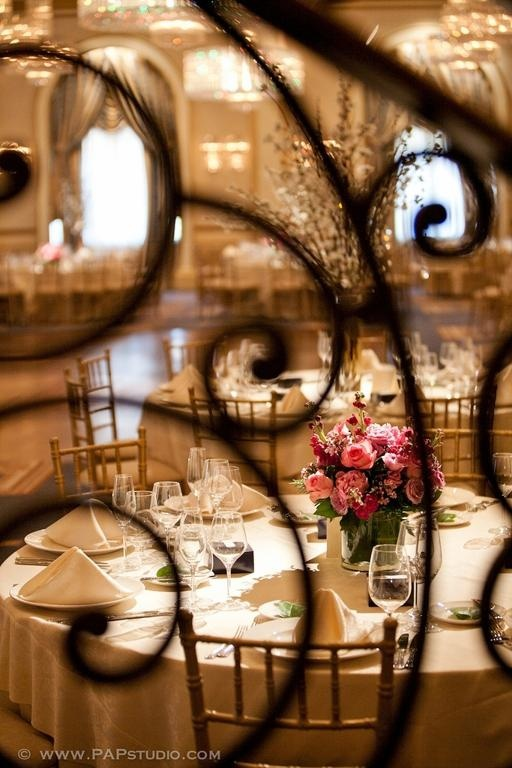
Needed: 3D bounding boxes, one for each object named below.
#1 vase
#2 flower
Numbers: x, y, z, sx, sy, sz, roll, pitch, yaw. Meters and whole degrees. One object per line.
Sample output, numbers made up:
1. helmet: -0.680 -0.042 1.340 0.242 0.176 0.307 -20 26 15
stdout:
1. vase: 0.292 0.393 1.696 0.164 0.176 0.162 1 -3 0
2. flower: 0.273 0.234 1.668 0.441 0.474 0.438 0 -3 -5
